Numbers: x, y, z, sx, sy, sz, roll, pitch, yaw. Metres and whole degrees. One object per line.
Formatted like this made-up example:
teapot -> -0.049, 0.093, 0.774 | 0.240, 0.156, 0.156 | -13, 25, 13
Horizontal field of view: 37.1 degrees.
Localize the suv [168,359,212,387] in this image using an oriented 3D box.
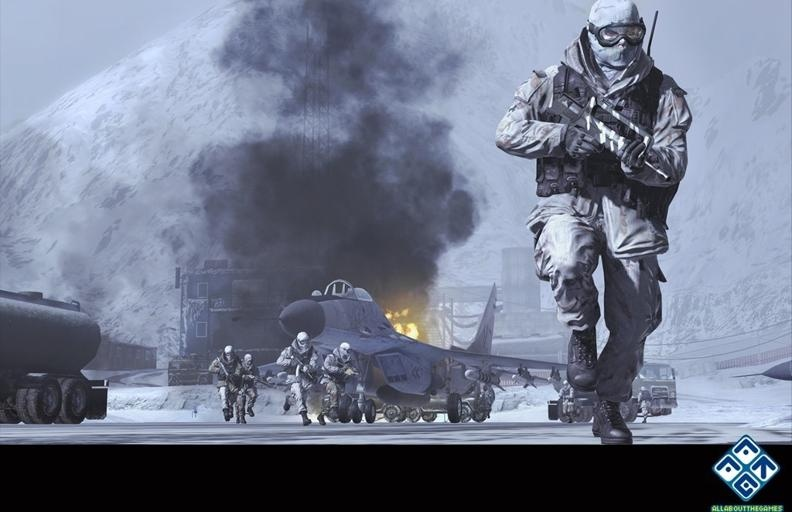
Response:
suv -> -18.756, 10.486, 107.128 | 4.677, 2.669, 2.620 | 1, 2, 7
